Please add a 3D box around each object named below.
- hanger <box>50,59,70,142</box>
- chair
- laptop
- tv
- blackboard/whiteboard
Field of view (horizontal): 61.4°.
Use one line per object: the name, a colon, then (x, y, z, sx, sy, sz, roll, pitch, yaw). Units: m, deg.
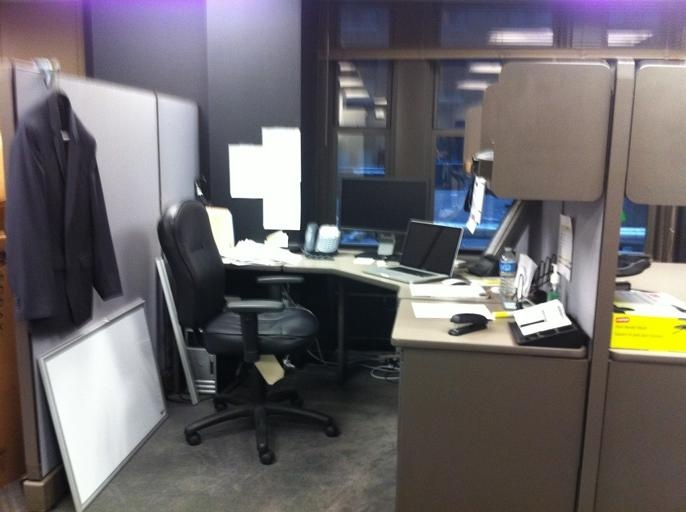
hanger: (-1.354, -0.748, 2.782, 0.080, 0.383, 0.243, -5, 13, -22)
chair: (-0.489, 0.381, 3.320, 0.981, 1.366, 0.870, 1, 9, 2)
laptop: (0.448, -0.028, 3.477, 0.425, 0.297, 0.471, 1, 6, -36)
tv: (0.296, -0.270, 3.947, 0.586, 0.529, 0.264, 2, 3, 13)
blackboard/whiteboard: (-1.255, 0.772, 2.884, 0.064, 0.740, 0.863, -10, 7, 10)
